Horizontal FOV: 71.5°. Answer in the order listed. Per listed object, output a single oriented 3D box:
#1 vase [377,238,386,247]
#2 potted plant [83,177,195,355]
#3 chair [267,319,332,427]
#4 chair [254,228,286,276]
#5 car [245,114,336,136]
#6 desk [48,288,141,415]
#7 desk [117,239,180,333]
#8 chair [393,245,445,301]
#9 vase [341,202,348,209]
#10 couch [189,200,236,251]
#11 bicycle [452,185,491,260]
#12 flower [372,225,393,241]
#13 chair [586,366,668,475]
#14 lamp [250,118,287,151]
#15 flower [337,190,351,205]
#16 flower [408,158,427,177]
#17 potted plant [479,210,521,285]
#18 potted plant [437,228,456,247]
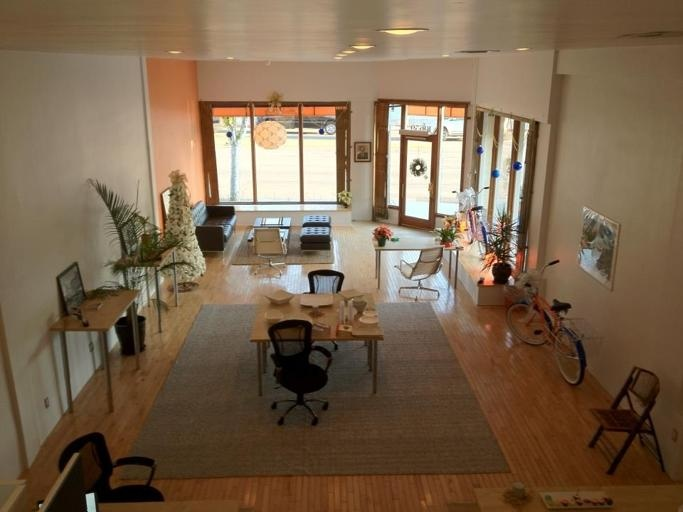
[{"bbox_3d":[0.898,-0.292,10.777,0.168,0.140,0.179,4,22,5],"label":"vase"},{"bbox_3d":[-3.632,-0.169,9.676,1.684,2.725,1.415,-5,16,-31],"label":"potted plant"},{"bbox_3d":[-0.571,1.575,6.734,0.824,1.396,1.388,1,-4,-1],"label":"chair"},{"bbox_3d":[-1.774,-0.086,11.516,0.831,1.251,0.864,1,34,-1],"label":"chair"},{"bbox_3d":[-1.469,-4.176,15.077,3.157,0.765,0.848,0,33,0],"label":"car"},{"bbox_3d":[-3.565,1.382,6.765,0.615,0.969,1.487,1,21,-3],"label":"desk"},{"bbox_3d":[-3.435,0.520,8.361,0.706,0.993,1.448,0,29,-7],"label":"desk"},{"bbox_3d":[1.676,0.276,10.317,0.839,1.108,0.819,-8,20,-30],"label":"chair"},{"bbox_3d":[0.075,-1.622,15.174,0.166,0.168,0.247,2,-6,25],"label":"vase"},{"bbox_3d":[-3.560,-0.848,13.091,1.089,1.007,2.262,2,19,-3],"label":"couch"},{"bbox_3d":[3.283,-0.790,11.793,0.901,1.182,1.876,-2,27,4],"label":"bicycle"},{"bbox_3d":[0.966,-0.543,11.016,0.472,0.369,0.475,2,15,2],"label":"flower"},{"bbox_3d":[3.565,2.021,5.843,0.816,1.183,0.736,5,12,19],"label":"chair"},{"bbox_3d":[-2.216,-3.648,14.334,0.887,0.897,0.837,-7,14,-30],"label":"lamp"},{"bbox_3d":[0.073,-1.873,15.190,0.474,0.462,0.473,-1,20,-1],"label":"flower"},{"bbox_3d":[2.270,-2.625,14.088,0.212,0.519,0.539,4,-5,-42],"label":"flower"},{"bbox_3d":[3.271,-0.168,9.794,0.731,1.562,1.477,-1,-4,18],"label":"potted plant"},{"bbox_3d":[2.355,-0.413,10.576,0.355,0.458,0.393,0,-4,14],"label":"potted plant"}]
